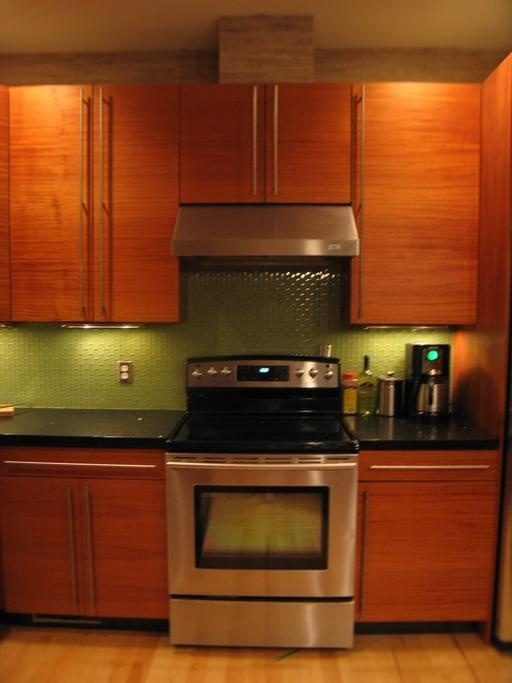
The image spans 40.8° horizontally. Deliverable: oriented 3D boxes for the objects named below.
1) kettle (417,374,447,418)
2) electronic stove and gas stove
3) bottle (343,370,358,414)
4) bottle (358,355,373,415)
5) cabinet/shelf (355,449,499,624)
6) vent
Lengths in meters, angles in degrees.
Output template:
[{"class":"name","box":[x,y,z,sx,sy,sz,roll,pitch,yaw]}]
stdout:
[{"class":"kettle","box":[0.745,0.233,2.908,0.143,0.169,0.173,2,6,18]},{"class":"electronic stove and gas stove","box":[0.034,0.368,2.825,0.732,0.091,0.404,0,6,2]},{"class":"bottle","box":[0.430,0.237,3.131,0.077,0.191,0.050,-1,7,-6]},{"class":"bottle","box":[0.511,0.198,3.174,0.079,0.260,0.148,1,7,8]},{"class":"cabinet/shelf","box":[0.678,0.776,3.010,0.730,0.921,0.661,0,0,3]},{"class":"vent","box":[0.039,-0.458,2.805,0.739,0.220,0.238,0,6,2]}]
